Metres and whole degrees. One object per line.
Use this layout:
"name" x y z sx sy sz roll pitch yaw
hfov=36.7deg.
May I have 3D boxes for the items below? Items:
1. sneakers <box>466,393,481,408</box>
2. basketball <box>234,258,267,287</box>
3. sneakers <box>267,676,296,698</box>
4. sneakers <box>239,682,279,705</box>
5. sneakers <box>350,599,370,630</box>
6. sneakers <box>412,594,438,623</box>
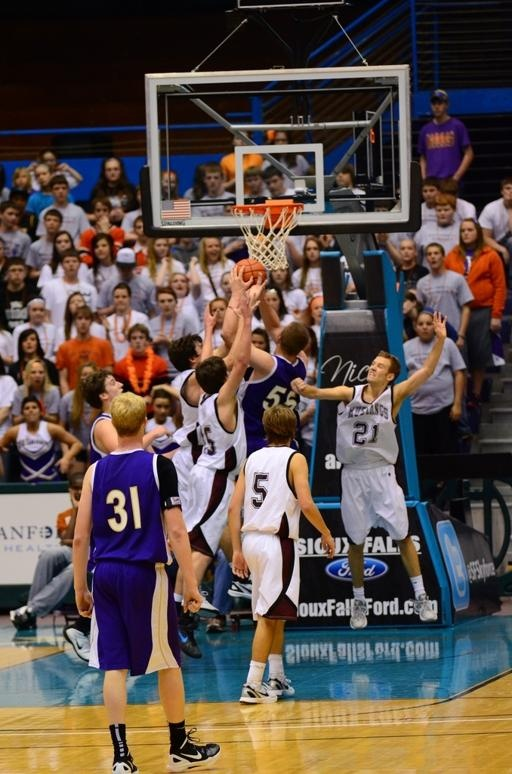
"sneakers" 2.321 0.153 8.310 0.085 0.174 0.258 6 18 16
"basketball" -0.021 -0.716 4.761 0.204 0.233 0.195 -1 14 9
"sneakers" 0.129 1.475 3.785 0.069 0.103 0.161 0 -4 38
"sneakers" 0.011 1.460 3.682 0.201 0.091 0.080 6 -5 -39
"sneakers" 0.750 1.673 5.611 0.112 0.270 0.117 -1 -24 1
"sneakers" 1.189 1.607 5.553 0.128 0.189 0.307 -13 -10 -12
